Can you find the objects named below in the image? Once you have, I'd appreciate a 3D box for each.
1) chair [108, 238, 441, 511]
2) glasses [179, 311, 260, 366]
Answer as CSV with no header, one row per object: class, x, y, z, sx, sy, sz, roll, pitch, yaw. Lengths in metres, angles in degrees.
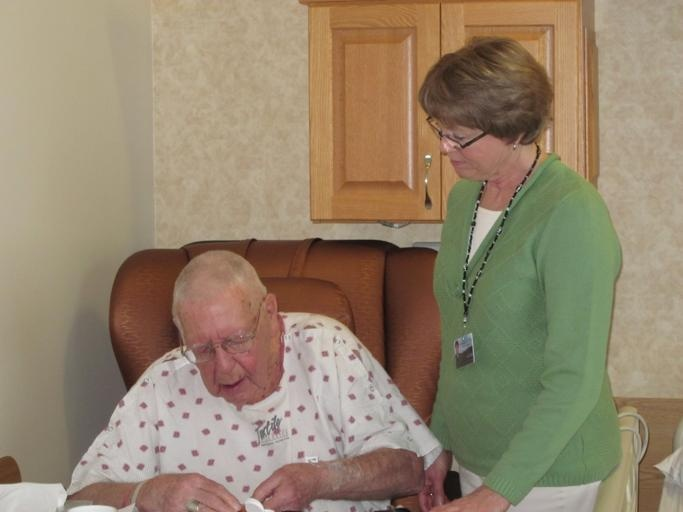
chair,-0.229,0.436,2.921,0.832,1.189,0.962,-2,-22,-3
glasses,-0.331,0.227,2.103,0.225,0.119,0.074,-4,12,-2
